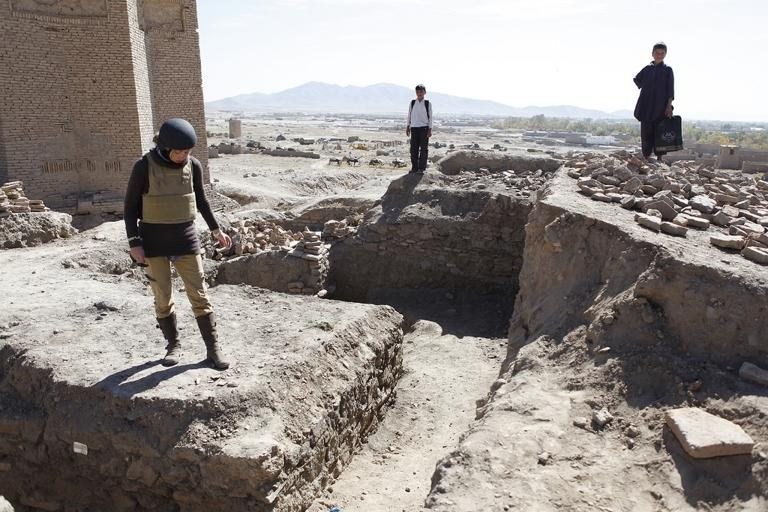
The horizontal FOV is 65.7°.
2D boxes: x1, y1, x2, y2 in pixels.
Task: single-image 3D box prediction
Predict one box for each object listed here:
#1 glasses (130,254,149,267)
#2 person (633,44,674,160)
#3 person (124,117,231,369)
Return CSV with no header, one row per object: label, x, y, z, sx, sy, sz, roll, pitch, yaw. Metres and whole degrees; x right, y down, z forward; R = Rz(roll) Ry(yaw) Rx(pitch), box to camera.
glasses,-2.732,0.053,6.631,0.248,0.084,0.178,21,4,-6
person,4.136,-2.332,9.179,0.552,1.706,0.742,5,15,20
person,-2.100,-0.072,6.041,0.932,2.574,0.424,-4,15,-18
